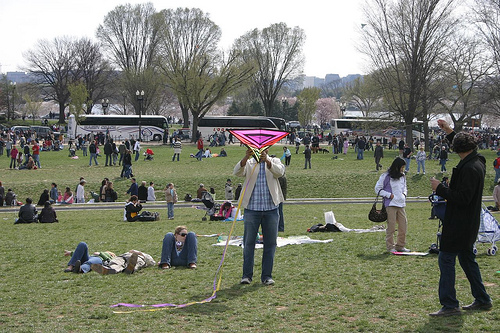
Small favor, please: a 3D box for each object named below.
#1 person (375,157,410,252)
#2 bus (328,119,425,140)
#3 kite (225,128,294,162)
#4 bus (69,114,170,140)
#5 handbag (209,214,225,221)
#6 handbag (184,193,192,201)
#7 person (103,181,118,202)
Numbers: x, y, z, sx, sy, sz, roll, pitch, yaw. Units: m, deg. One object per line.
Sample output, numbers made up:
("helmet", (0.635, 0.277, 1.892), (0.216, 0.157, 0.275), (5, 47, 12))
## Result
("person", (5.438, 1.445, 26.322), (1.103, 3.597, 0.493), (0, 3, 13))
("bus", (13.611, -3.880, 73.073), (12.039, 2.952, 3.599), (1, 3, 1))
("kite", (0.473, -1.085, 38.743), (3.956, 1.918, 0.199), (3, 7, 2))
("bus", (-15.301, -3.809, 80.377), (13.456, 3.510, 4.287), (-2, 5, -13))
("handbag", (-1.602, 2.483, 33.802), (0.746, 0.296, 0.272), (-1, 3, 3))
("handbag", (-3.612, 1.805, 40.727), (0.390, 0.352, 0.616), (-1, 16, 0))
("person", (-8.206, 1.506, 40.689), (0.605, 1.669, 0.590), (22, 35, 39))
